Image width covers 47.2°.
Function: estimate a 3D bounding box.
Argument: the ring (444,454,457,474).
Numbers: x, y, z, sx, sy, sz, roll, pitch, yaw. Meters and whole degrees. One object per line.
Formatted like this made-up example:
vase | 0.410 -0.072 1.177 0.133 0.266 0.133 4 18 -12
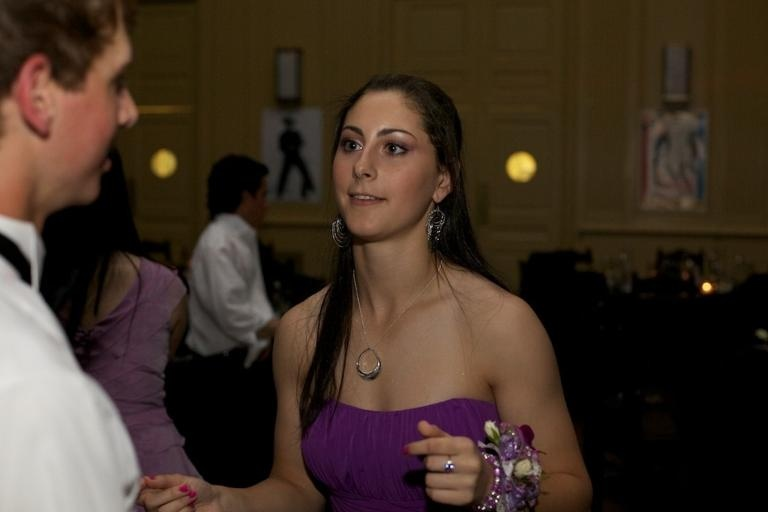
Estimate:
ring | 0.284 0.890 3.756 0.032 0.035 0.071 -1 35 -2
